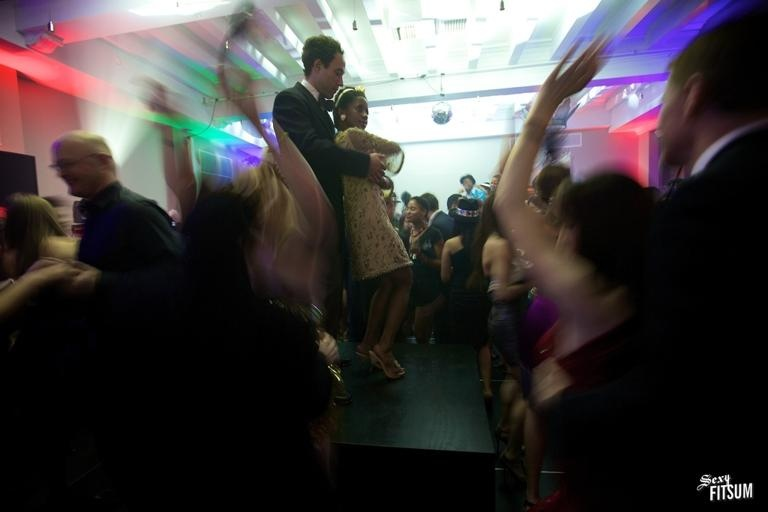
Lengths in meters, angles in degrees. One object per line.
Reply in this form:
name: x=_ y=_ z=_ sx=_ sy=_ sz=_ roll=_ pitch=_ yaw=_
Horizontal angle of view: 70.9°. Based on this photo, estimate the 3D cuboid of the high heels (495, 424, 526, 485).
high heels: x=0.623 y=0.991 z=2.664 sx=0.089 sy=0.245 sz=0.094 roll=3 pitch=3 yaw=-35

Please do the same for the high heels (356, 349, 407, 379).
high heels: x=-0.016 y=0.424 z=2.317 sx=0.235 sy=0.093 sz=0.068 roll=28 pitch=59 yaw=37

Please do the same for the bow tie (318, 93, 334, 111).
bow tie: x=-0.221 y=-0.588 z=2.076 sx=0.054 sy=0.039 sz=0.053 roll=-1 pitch=-1 yaw=-17
